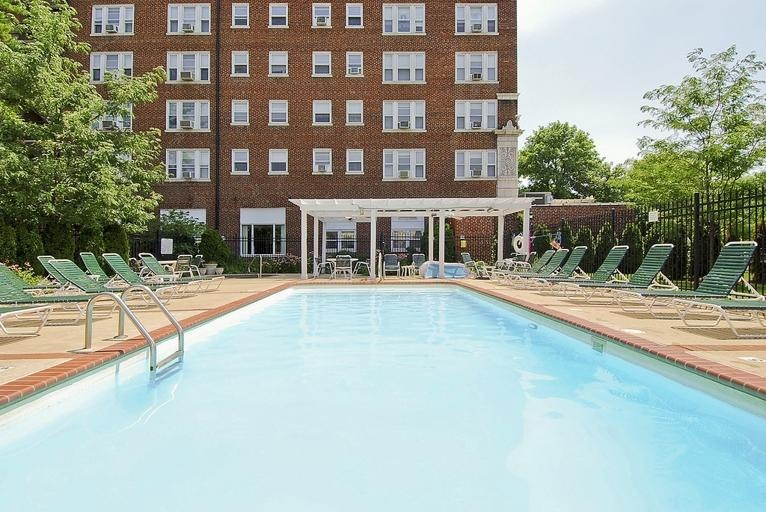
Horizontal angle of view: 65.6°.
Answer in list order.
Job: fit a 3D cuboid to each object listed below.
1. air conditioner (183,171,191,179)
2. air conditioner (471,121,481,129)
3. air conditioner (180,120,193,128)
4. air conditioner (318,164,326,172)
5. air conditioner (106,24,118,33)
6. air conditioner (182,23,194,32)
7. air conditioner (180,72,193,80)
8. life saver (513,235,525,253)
[{"bbox_3d":[-11.767,-4.714,35.532,0.674,0.500,0.369,0,-3,-19],"label":"air conditioner"},{"bbox_3d":[5.585,-7.696,35.852,0.623,0.576,0.347,-1,-5,1],"label":"air conditioner"},{"bbox_3d":[-11.764,-7.655,35.373,0.498,0.324,0.519,0,2,7],"label":"air conditioner"},{"bbox_3d":[-3.745,-5.173,36.026,0.391,0.389,0.410,0,4,4],"label":"air conditioner"},{"bbox_3d":[-16.281,-13.315,35.456,0.502,0.328,0.522,0,2,4],"label":"air conditioner"},{"bbox_3d":[-11.785,-13.419,35.656,0.480,0.308,0.486,-10,34,-20],"label":"air conditioner"},{"bbox_3d":[-11.792,-10.525,35.488,0.510,0.332,0.529,12,19,32],"label":"air conditioner"},{"bbox_3d":[6.191,-0.476,27.021,0.331,1.099,0.780,-4,5,-10],"label":"life saver"}]
